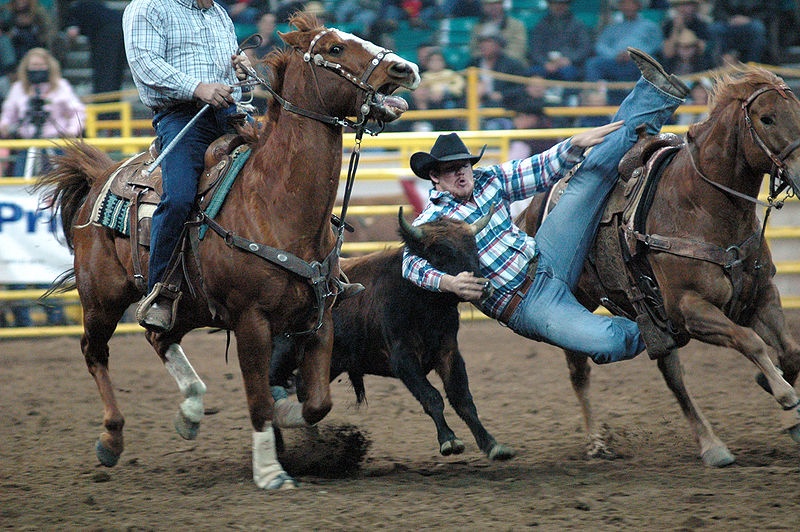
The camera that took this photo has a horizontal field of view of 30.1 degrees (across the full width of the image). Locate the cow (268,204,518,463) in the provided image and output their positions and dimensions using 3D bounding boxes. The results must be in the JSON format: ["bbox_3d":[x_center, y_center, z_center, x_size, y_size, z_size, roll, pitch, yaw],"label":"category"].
[{"bbox_3d":[-1.107,0.544,12.082,2.213,1.862,4.265,2,-1,-10],"label":"cow"}]

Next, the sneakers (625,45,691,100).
[{"bbox_3d":[2.022,-1.484,11.564,0.708,0.183,0.254,24,22,-8],"label":"sneakers"}]

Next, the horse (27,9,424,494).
[{"bbox_3d":[-1.352,-0.141,11.405,2.730,3.499,1.133,5,17,22],"label":"horse"}]
